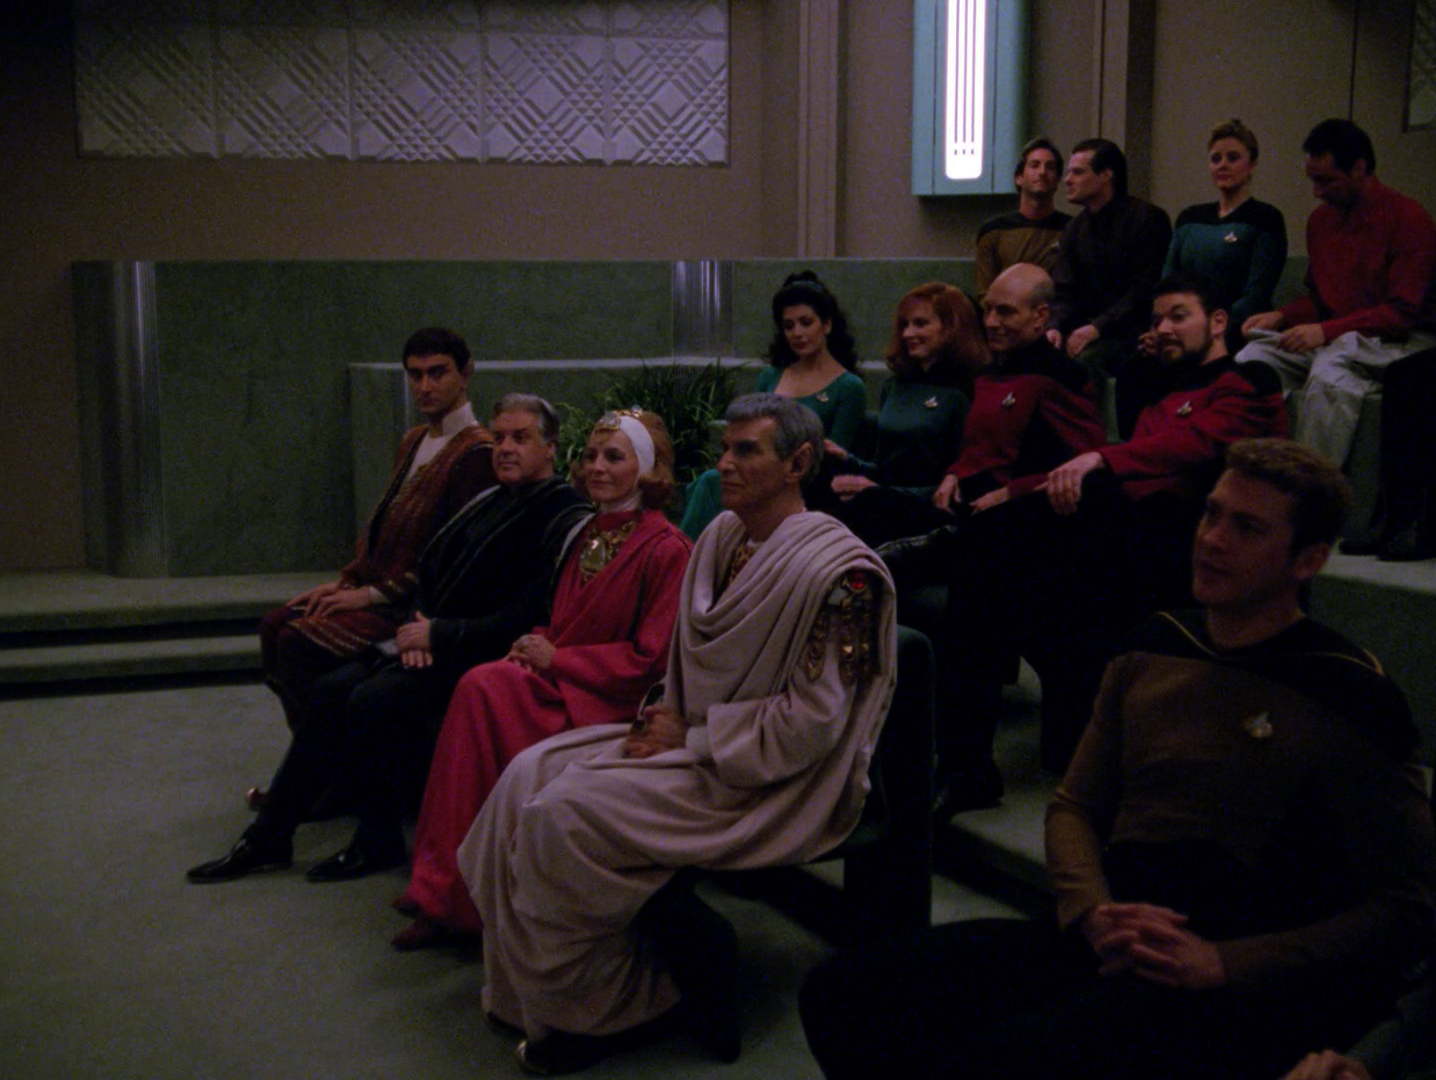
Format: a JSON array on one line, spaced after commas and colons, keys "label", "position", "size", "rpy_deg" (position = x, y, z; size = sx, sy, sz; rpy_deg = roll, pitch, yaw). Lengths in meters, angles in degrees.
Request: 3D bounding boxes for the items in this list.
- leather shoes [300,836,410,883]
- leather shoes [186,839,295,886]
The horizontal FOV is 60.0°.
[{"label": "leather shoes", "position": [-1.278, 1.124, 4.418], "size": [0.334, 0.161, 0.124], "rpy_deg": [3, -4, -25]}, {"label": "leather shoes", "position": [-1.677, 1.142, 4.404], "size": [0.351, 0.152, 0.136], "rpy_deg": [1, -3, -19]}]
